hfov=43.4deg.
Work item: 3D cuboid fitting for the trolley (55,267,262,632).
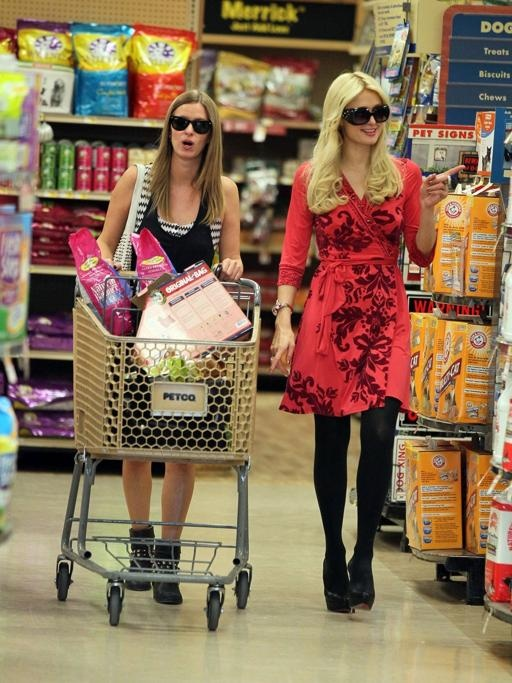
[{"bbox_3d":[-0.209,0.289,2.152,0.692,0.990,0.842,0,-2,12],"label":"trolley"}]

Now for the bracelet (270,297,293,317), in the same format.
[{"bbox_3d":[0.088,-0.126,2.275,0.074,0.040,0.057,3,-14,3],"label":"bracelet"}]

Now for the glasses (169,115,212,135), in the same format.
[{"bbox_3d":[-0.235,-0.754,2.251,0.152,0.059,0.080,6,-2,-3],"label":"glasses"}]

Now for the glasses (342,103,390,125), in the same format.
[{"bbox_3d":[0.356,-0.740,2.088,0.153,0.062,0.077,6,-2,5],"label":"glasses"}]
